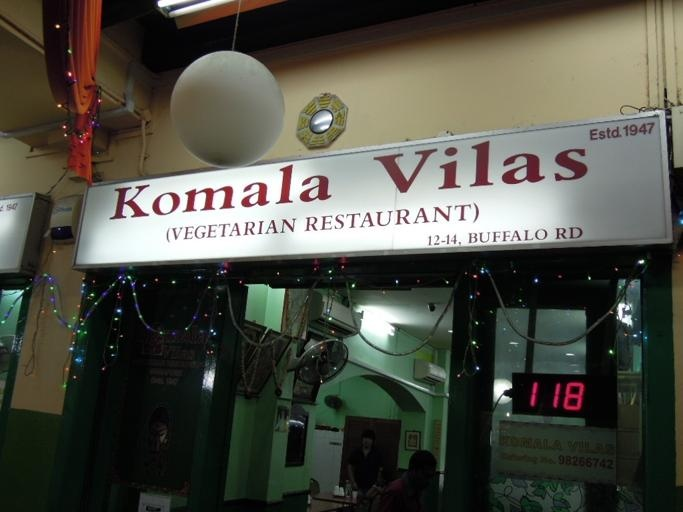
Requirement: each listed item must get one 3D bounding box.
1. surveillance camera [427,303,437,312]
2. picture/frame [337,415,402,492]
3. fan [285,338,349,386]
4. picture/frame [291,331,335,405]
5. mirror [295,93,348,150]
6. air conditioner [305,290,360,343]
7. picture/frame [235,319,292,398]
[{"bbox_3d":[1.336,0.748,8.810,0.088,0.129,0.168,-8,-19,8],"label":"surveillance camera"},{"bbox_3d":[0.520,3.721,10.901,1.048,1.529,0.118,-3,-41,14],"label":"picture/frame"},{"bbox_3d":[-0.192,0.947,5.595,0.481,0.417,0.130,0,13,-6],"label":"fan"},{"bbox_3d":[-0.513,1.457,7.782,0.261,0.860,0.444,13,-13,-36],"label":"picture/frame"},{"bbox_3d":[-0.155,-1.172,5.191,0.511,0.530,0.055,-6,-22,16],"label":"mirror"},{"bbox_3d":[-0.134,0.698,6.806,0.590,0.453,0.836,5,-18,29],"label":"air conditioner"},{"bbox_3d":[-0.887,1.148,6.598,0.212,0.915,0.971,19,-25,14],"label":"picture/frame"}]
